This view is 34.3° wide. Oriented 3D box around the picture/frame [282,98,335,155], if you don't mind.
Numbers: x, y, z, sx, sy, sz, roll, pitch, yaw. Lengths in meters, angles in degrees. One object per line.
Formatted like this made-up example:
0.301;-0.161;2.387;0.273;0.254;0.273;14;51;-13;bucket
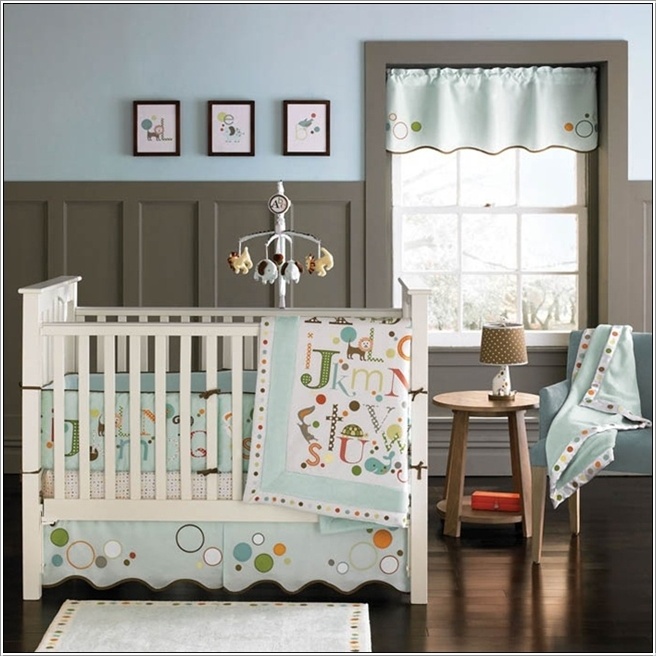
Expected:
-0.106;-0.950;4.984;0.222;0.279;0.017;0;6;1;picture/frame

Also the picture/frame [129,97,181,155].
-0.815;-0.951;4.975;0.223;0.306;0.016;0;5;0;picture/frame

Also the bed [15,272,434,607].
-0.431;0.236;4.340;1.626;1.099;1.583;2;14;1;bed

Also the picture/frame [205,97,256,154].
-0.466;-0.954;4.977;0.221;0.296;0.023;0;6;-1;picture/frame

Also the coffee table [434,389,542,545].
0.635;0.569;4.499;0.488;0.619;0.476;-1;5;6;coffee table
